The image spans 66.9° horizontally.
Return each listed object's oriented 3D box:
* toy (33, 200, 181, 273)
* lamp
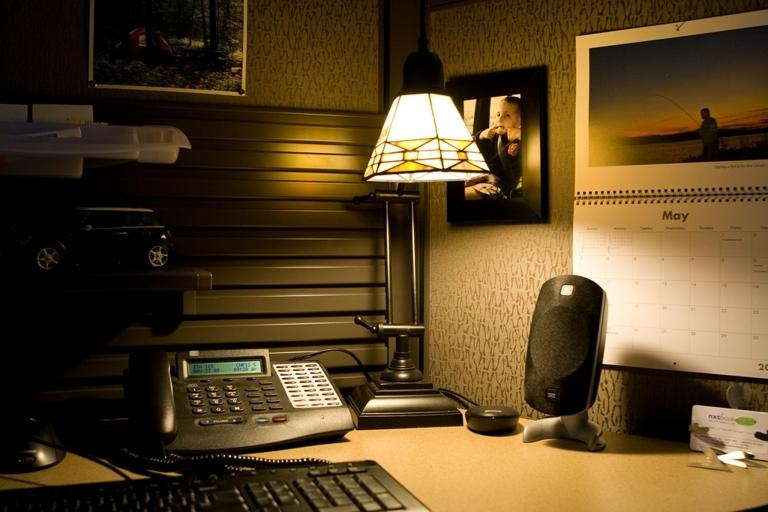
[{"bbox_3d":[-0.638,-0.045,1.309,0.230,0.107,0.134,2,-2,-23],"label":"toy"},{"bbox_3d":[0.078,-0.096,1.499,0.295,1.001,0.386,3,9,-3],"label":"lamp"}]
